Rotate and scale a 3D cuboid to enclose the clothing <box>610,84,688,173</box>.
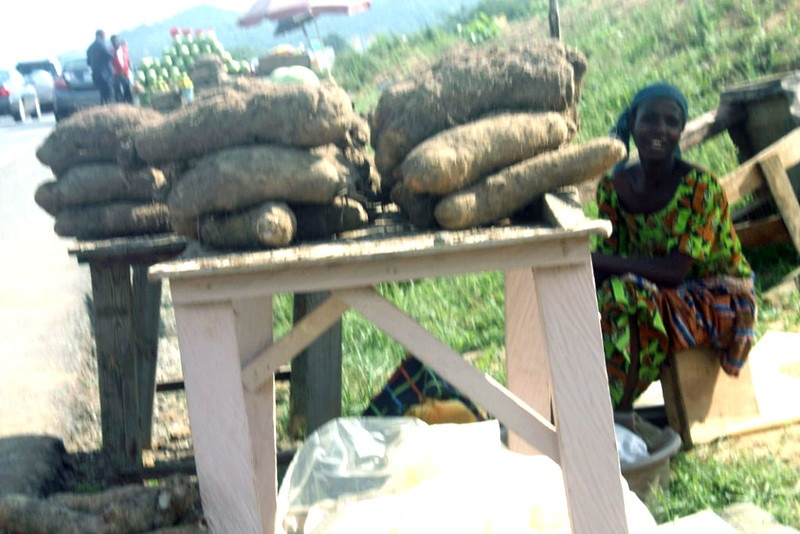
[{"bbox_3d":[1.138,-0.628,3.416,0.244,0.396,0.415,6,-4,12],"label":"clothing"}]
